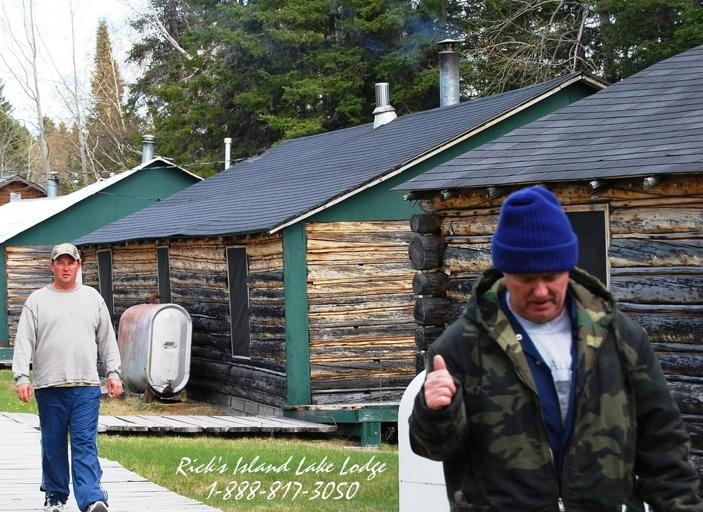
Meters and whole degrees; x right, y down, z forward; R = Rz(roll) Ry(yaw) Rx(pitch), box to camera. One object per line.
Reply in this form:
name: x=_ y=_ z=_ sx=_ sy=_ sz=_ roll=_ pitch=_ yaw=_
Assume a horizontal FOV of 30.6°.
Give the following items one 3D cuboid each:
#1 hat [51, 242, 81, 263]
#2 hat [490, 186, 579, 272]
hat: x=-3.696 y=-0.081 z=16.674 sx=0.290 sy=0.187 sz=0.390 roll=-2 pitch=-10 yaw=-15
hat: x=1.939 y=-0.289 z=13.558 sx=0.947 sy=0.789 sz=0.877 roll=-7 pitch=10 yaw=-22
